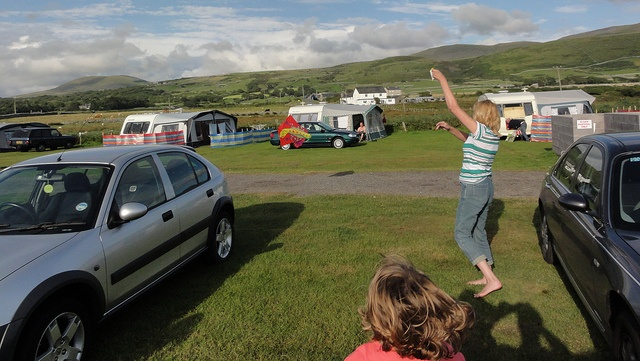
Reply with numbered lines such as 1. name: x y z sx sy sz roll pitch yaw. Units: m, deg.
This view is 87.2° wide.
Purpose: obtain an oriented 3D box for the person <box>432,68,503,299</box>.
1. person: 2.322 0.048 5.153 0.953 3.319 0.961 2 14 27

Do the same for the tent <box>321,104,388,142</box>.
1. tent: 3.130 -5.272 28.672 4.805 2.007 4.004 2 5 36

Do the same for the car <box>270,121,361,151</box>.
1. car: -0.390 -3.266 24.946 5.854 1.526 2.285 -1 9 8

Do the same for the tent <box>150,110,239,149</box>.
1. tent: -11.572 -4.947 31.520 2.180 3.249 8.141 3 13 28

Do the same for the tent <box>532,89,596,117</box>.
1. tent: 18.079 -5.958 25.059 3.536 1.709 1.819 -3 40 27

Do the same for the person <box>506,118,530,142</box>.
1. person: 14.275 -3.681 24.306 1.533 0.987 2.364 1 20 25
